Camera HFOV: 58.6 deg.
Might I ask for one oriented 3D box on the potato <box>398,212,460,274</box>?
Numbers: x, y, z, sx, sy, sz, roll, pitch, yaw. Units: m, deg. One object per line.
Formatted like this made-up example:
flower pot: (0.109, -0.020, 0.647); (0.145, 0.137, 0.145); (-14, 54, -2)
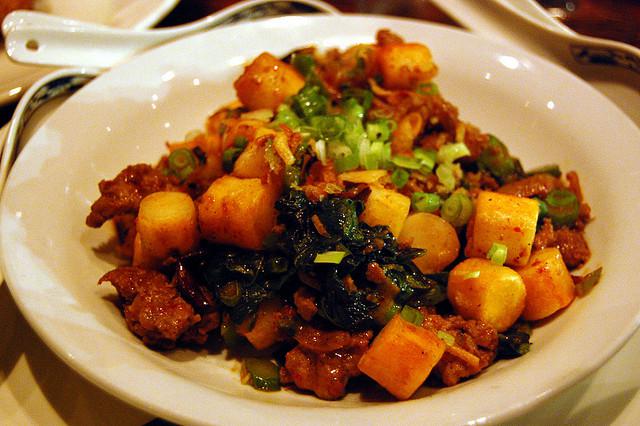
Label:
potato: (0.777, 0.176, 4.057); (0.280, 0.440, 0.378); (-8, 108, -24)

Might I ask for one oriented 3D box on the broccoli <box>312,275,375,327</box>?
broccoli: (0.150, 0.584, 3.803); (0.383, 0.078, 0.269); (44, 99, 14)

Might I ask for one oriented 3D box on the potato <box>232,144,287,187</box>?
potato: (-0.402, -0.339, 4.043); (0.277, 0.406, 0.285); (1, 106, 15)

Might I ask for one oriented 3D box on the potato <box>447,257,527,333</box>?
potato: (1.119, 0.548, 3.850); (0.526, 0.204, 0.437); (32, 76, 7)

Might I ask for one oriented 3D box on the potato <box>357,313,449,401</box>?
potato: (0.529, 0.915, 3.629); (0.398, 0.157, 0.456); (36, 77, 8)

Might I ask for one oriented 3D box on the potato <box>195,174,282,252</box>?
potato: (-0.607, -0.082, 4.080); (0.740, 0.502, 0.451); (-8, 107, -21)

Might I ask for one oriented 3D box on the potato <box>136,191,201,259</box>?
potato: (-1.038, 0.074, 3.925); (0.392, 0.169, 0.431); (-13, 75, -5)

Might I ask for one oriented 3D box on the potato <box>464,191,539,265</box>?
potato: (1.324, 0.105, 4.096); (0.431, 0.458, 0.414); (10, 119, 16)

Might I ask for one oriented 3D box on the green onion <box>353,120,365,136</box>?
green onion: (0.290, -0.645, 4.317); (0.095, 0.089, 0.095); (22, 102, -14)

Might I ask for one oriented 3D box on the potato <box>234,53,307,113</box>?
potato: (-0.375, -1.032, 4.569); (0.574, 0.316, 0.441); (-18, 111, -40)
